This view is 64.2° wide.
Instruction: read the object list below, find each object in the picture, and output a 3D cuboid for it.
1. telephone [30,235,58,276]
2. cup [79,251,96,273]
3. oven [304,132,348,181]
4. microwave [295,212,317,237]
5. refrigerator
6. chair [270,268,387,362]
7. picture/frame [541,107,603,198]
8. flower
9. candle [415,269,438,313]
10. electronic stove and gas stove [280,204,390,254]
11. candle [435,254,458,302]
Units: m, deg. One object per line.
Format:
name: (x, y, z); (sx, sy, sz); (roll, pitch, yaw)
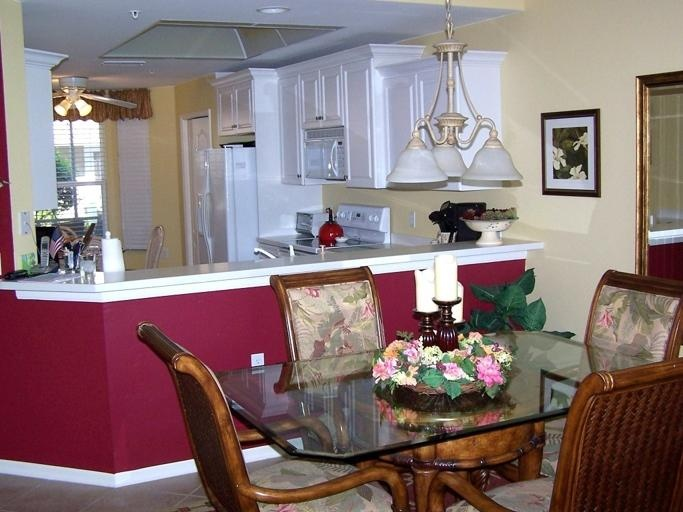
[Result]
telephone: (-1.827, -0.013, 3.322); (0.150, 0.211, 0.217); (-7, 12, -28)
cup: (-1.440, 0.036, 3.133); (0.109, 0.122, 0.108); (2, 4, 0)
oven: (-0.131, -0.917, 4.973); (0.290, 0.417, 0.503); (-2, 6, -27)
microwave: (-0.393, -0.339, 5.781); (0.228, 0.289, 0.387); (1, 4, -30)
refrigerator: (-1.285, -0.518, 5.928); (0.876, 1.292, 0.339); (9, 15, 41)
chair: (-0.087, 0.246, 2.910); (0.441, 0.752, 0.504); (-8, 22, -21)
picture/frame: (1.503, -0.672, 3.515); (0.050, 0.703, 0.585); (-5, 8, -34)
flower: (0.344, 0.372, 1.999); (0.316, 0.102, 0.312); (-2, 7, -17)
candle: (0.310, 0.127, 1.988); (0.080, 0.161, 0.171); (1, 11, 9)
electronic stove and gas stove: (-0.139, -0.316, 5.343); (0.809, 0.366, 1.206); (-6, 12, -23)
candle: (0.363, 0.071, 1.898); (0.083, 0.162, 0.083); (1, 11, 10)
